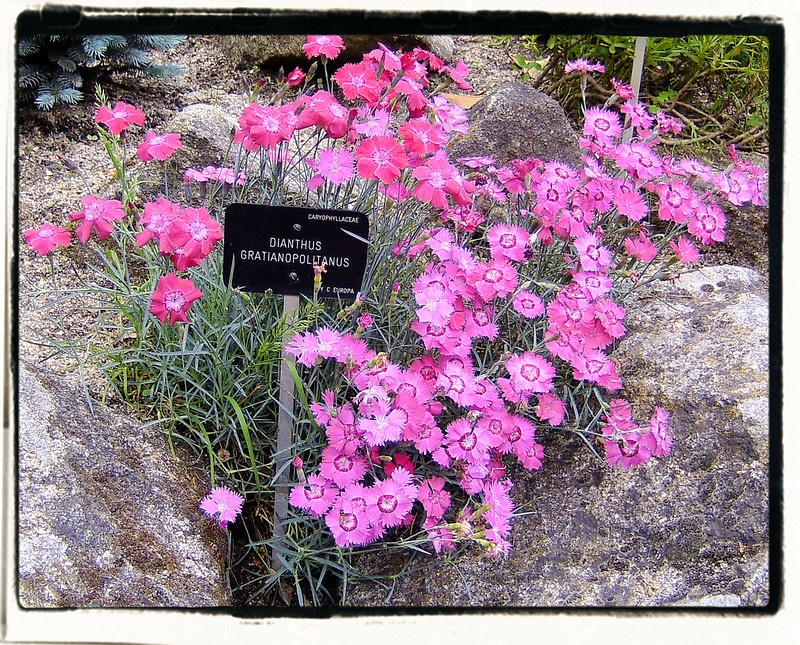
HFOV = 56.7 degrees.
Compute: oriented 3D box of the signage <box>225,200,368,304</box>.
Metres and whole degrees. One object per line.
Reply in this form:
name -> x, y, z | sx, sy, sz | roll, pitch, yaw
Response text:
signage -> -0.249, -0.164, 1.767 | 0.275, 0.027, 0.181 | 4, 93, 1
